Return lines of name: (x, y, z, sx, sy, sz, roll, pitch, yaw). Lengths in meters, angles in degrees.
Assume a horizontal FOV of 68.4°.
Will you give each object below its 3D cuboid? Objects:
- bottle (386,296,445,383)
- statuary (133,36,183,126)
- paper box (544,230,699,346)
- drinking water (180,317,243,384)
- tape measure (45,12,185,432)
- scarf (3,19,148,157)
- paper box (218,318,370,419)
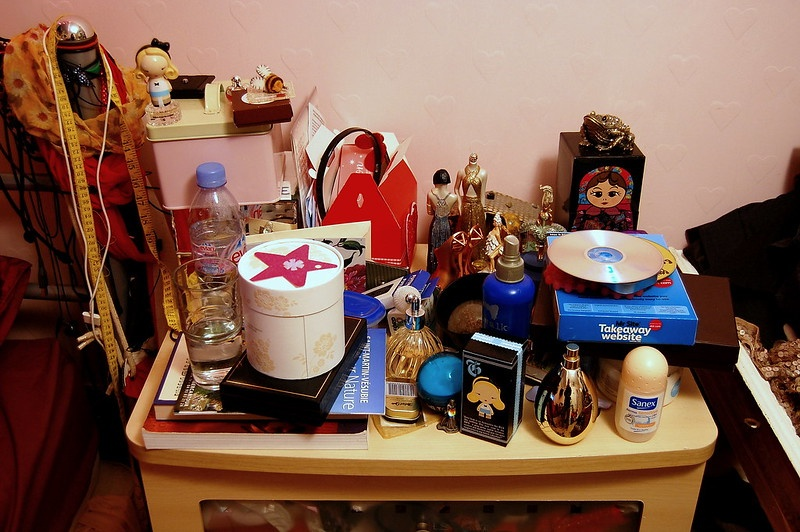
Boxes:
bottle: (0.032, 0.163, 1.299, 0.128, 0.189, 0.124, 3, 11, -1)
statuary: (-0.536, -0.406, 1.289, 0.086, 0.174, 0.076, -13, 39, -26)
paper box: (0.433, 0.053, 1.175, 0.305, 0.076, 0.332, -1, 59, 4)
drinking water: (-0.356, 0.167, 1.210, 0.122, 0.138, 0.122, 1, 32, -3)
tape measure: (-0.695, -0.018, 1.509, 0.244, 1.134, 0.118, -13, 18, -18)
scarf: (-0.812, -0.408, 1.457, 0.278, 0.325, 0.097, -31, 20, -9)
paper box: (-0.220, 0.222, 1.124, 0.161, 0.054, 0.233, 9, 31, 13)
